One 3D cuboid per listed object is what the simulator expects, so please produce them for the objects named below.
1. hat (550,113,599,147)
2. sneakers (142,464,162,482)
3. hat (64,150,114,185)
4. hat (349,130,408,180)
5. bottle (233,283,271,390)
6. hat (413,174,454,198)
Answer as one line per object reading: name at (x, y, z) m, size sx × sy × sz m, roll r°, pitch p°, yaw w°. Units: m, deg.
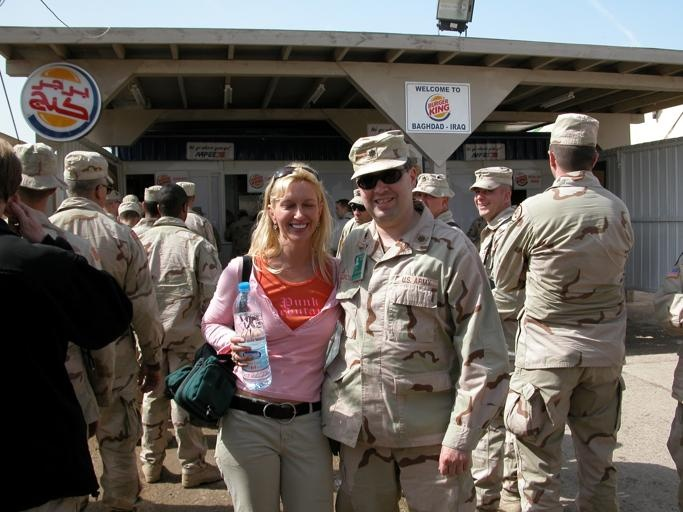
hat at (1.635, -0.903, 5.060) m, size 0.371 × 0.207 × 0.366 m, roll 5°, pitch 13°, yaw 11°
sneakers at (-1.558, 1.779, 5.870) m, size 0.138 × 0.127 × 0.155 m, roll 2°, pitch -23°, yaw -3°
hat at (-1.837, -0.639, 5.253) m, size 0.241 × 0.161 × 0.309 m, roll 5°, pitch 11°, yaw 24°
hat at (0.237, -0.607, 4.186) m, size 0.276 × 0.153 × 0.351 m, roll -16°, pitch 12°, yaw 27°
bottle at (-0.517, 0.466, 4.155) m, size 0.206 × 0.629 × 0.256 m, roll -1°, pitch 1°, yaw -9°
hat at (0.851, -0.645, 6.676) m, size 0.330 × 0.146 × 0.392 m, roll 1°, pitch 5°, yaw -7°
